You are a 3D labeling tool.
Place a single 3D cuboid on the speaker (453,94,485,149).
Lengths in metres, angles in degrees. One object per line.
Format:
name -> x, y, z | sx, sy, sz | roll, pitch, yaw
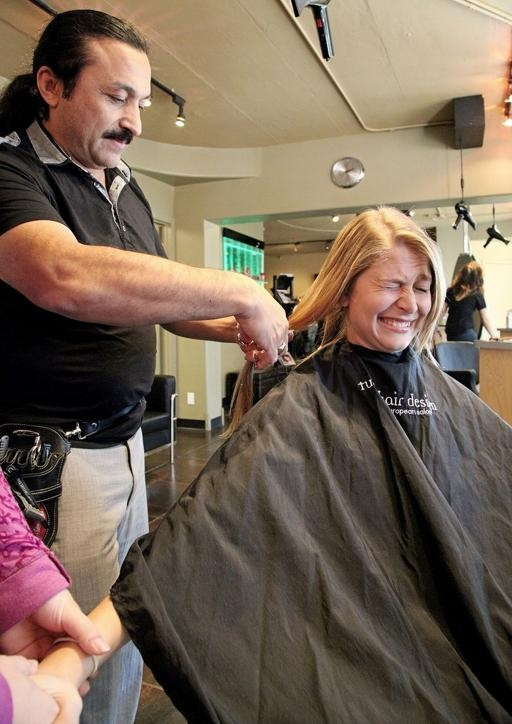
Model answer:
speaker -> 1.589, -1.815, 4.028 | 0.300, 0.434, 0.238 | 4, 34, 23
